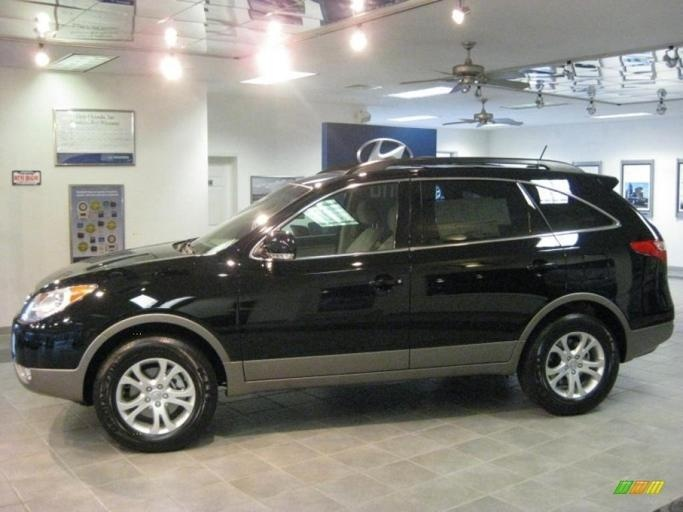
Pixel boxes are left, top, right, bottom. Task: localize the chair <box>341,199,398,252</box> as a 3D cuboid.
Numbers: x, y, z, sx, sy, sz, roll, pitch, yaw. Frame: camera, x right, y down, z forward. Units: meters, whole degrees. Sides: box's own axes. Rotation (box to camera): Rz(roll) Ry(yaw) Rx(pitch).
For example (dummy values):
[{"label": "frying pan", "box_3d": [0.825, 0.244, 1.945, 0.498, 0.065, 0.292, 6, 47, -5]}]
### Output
[{"label": "chair", "box_3d": [0.272, -0.234, 3.837, 0.437, 0.434, 0.379, -2, 6, -42]}]
